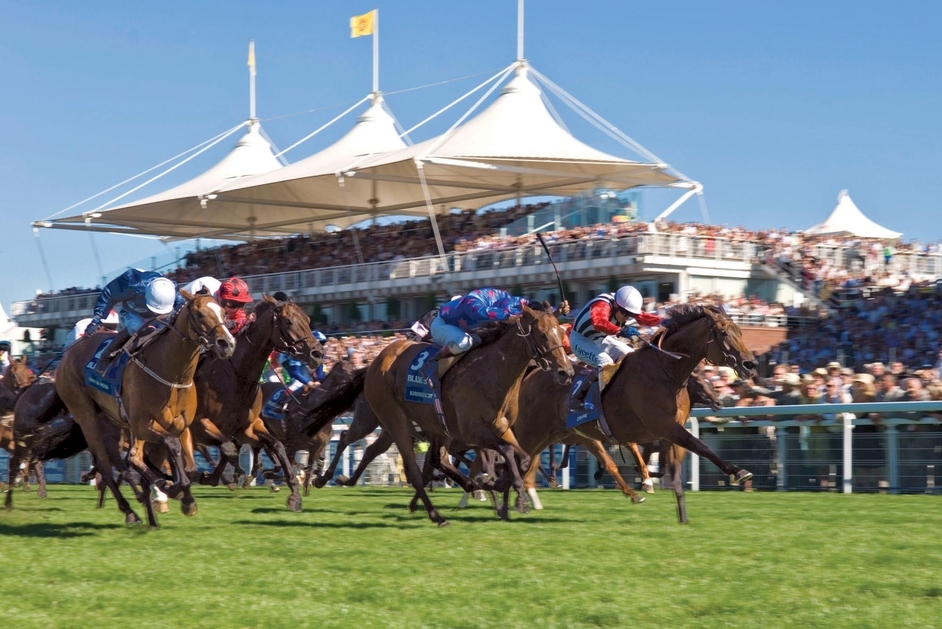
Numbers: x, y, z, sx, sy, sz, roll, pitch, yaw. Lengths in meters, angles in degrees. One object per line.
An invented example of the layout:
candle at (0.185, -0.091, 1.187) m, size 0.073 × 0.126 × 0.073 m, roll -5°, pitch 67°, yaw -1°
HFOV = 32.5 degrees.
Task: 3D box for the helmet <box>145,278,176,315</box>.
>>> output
helmet at (-2.752, -0.144, 14.289) m, size 0.306 × 0.303 × 0.190 m, roll -4°, pitch -13°, yaw -22°

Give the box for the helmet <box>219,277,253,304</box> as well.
helmet at (-2.218, -0.221, 15.015) m, size 0.345 × 0.176 × 0.228 m, roll 15°, pitch 15°, yaw 30°
